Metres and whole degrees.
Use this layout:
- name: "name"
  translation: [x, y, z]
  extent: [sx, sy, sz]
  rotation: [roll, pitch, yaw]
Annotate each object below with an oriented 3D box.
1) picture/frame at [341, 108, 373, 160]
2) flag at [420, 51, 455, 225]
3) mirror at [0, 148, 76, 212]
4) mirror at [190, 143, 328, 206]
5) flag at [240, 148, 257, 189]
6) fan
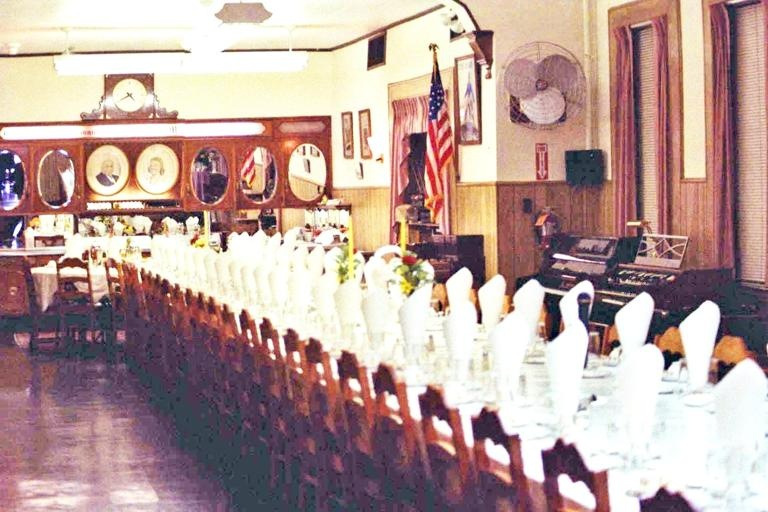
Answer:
- name: "picture/frame"
  translation: [-0.451, -2.063, 11.191]
  extent: [0.065, 0.840, 0.936]
  rotation: [-1, 3, -26]
- name: "flag"
  translation: [0.675, -1.542, 8.356]
  extent: [0.386, 2.193, 0.506]
  rotation: [-1, 6, 6]
- name: "mirror"
  translation: [-6.098, -1.303, 11.515]
  extent: [1.020, 0.795, 0.056]
  rotation: [1, -3, -10]
- name: "mirror"
  translation: [-2.235, -1.432, 11.997]
  extent: [2.414, 1.082, 0.234]
  rotation: [-3, 6, -6]
- name: "flag"
  translation: [-2.488, -1.566, 12.017]
  extent: [0.281, 0.683, 0.094]
  rotation: [-5, 7, -27]
- name: "fan"
  translation: [1.810, -1.977, 7.590]
  extent: [0.940, 1.000, 0.601]
  rotation: [-2, 6, 5]
